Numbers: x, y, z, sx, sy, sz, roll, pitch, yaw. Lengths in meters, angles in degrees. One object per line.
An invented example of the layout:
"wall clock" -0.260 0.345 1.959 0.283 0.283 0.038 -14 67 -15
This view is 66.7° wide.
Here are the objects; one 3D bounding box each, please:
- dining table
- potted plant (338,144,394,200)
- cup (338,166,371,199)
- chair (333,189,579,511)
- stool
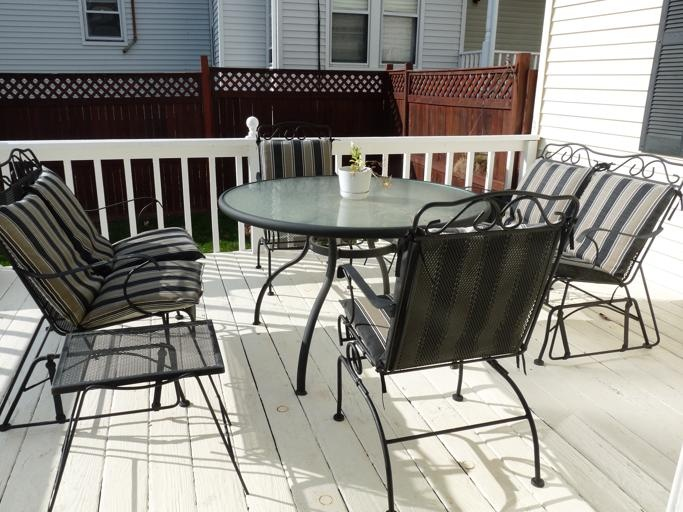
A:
"dining table" -0.079 -0.164 3.050 1.323 0.829 1.289 -5 24 -13
"potted plant" 0.147 -0.471 2.972 0.267 0.228 0.150 -6 10 8
"cup" 0.088 -0.427 2.951 0.177 0.136 0.184 0 16 0
"chair" 0.467 0.321 2.181 0.958 1.249 0.480 1 22 -3
"stool" -0.878 0.657 2.478 0.923 0.608 0.714 -4 26 -15
